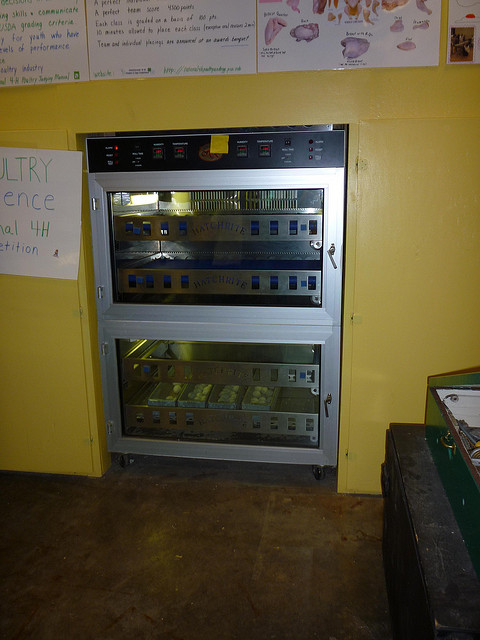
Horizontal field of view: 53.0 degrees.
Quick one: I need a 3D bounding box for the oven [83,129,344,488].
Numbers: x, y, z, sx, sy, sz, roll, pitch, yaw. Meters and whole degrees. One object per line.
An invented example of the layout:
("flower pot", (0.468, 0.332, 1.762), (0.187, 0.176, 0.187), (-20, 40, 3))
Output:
("oven", (-0.076, -0.127, 2.657), (1.152, 1.555, 0.972), (2, 18, 8))
